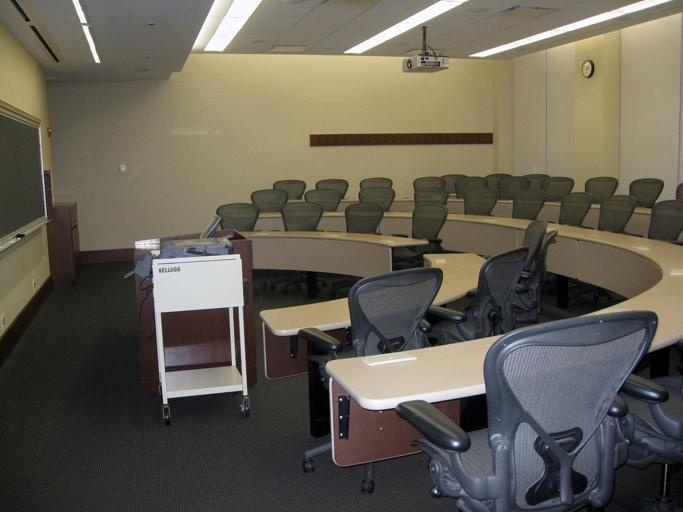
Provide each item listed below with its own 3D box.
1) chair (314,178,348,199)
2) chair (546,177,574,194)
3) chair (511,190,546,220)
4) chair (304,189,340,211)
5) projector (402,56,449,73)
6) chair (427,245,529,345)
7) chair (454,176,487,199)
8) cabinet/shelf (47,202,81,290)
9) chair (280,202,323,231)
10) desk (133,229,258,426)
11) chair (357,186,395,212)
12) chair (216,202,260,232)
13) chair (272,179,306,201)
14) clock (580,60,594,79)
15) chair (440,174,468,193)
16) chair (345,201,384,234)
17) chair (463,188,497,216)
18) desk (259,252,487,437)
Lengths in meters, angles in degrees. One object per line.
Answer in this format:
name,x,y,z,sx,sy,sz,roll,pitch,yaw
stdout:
chair,-0.176,-1.291,9.130,0.456,0.545,0.448,-1,3,4
chair,3.553,-1.168,8.294,0.341,0.449,0.358,2,8,30
chair,2.450,-0.708,6.712,0.370,0.646,0.401,4,8,42
chair,-0.300,-0.928,7.995,0.495,0.539,0.383,1,10,1
projector,1.107,-2.693,7.114,0.346,0.135,0.375,-5,11,-16
chair,0.936,0.269,3.469,0.565,0.887,0.553,-11,17,-36
chair,2.233,-1.279,8.883,0.440,0.622,0.481,0,5,1
cabinet/shelf,-3.810,-0.129,6.942,0.317,1.027,1.023,-3,10,-15
chair,-0.515,-0.531,6.506,0.387,0.295,0.410,0,6,-3
desk,-1.049,0.450,3.654,0.849,1.170,0.903,-4,11,-11
chair,0.533,-0.936,7.839,0.447,0.591,0.467,-1,3,8
chair,-1.316,-0.518,6.496,0.477,0.621,0.540,-2,6,-13
chair,-0.895,-1.199,8.784,0.414,0.505,0.414,-1,3,-5
clock,4.262,-3.284,8.815,0.097,0.324,0.295,-3,11,-8
chair,2.078,-1.439,9.504,0.373,0.575,0.444,-1,-3,6
chair,0.281,-0.522,6.591,0.364,0.647,0.423,0,5,3
chair,1.977,-0.788,7.325,0.374,0.630,0.408,2,7,29
desk,0.197,0.497,2.943,0.954,0.273,0.480,-11,18,-26
